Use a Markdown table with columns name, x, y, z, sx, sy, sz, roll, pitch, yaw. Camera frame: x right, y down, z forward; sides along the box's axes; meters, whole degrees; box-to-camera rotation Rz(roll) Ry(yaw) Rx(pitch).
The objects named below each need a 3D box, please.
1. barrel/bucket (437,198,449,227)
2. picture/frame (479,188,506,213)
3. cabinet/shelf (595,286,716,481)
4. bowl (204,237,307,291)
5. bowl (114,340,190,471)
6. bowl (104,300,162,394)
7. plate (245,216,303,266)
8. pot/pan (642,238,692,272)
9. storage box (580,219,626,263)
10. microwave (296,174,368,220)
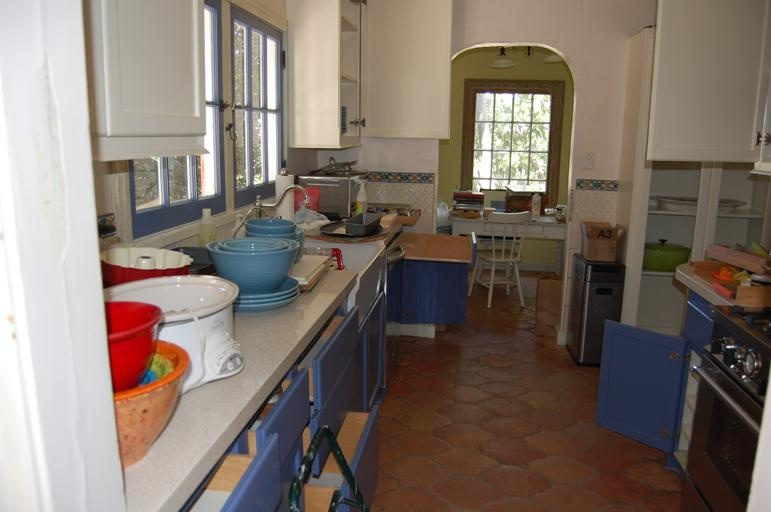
| name | x | y | z | sx | sy | sz | roll | pitch | yaw |
| --- | --- | --- | --- | --- | --- | --- | --- | --- | --- |
| barrel/bucket | 0.675 | -0.496 | 6.327 | 0.133 | 0.291 | 0.455 | 2 | 12 | 6 |
| picture/frame | 1.310 | -0.675 | 6.519 | 0.357 | 0.345 | 0.222 | 3 | -12 | 4 |
| cabinet/shelf | 1.523 | 0.667 | 3.165 | 0.623 | 0.719 | 0.508 | -11 | 22 | -16 |
| bowl | -0.486 | 0.038 | 2.004 | 0.314 | 0.168 | 0.299 | 1 | 12 | 0 |
| bowl | -0.507 | 0.329 | 1.232 | 0.205 | 0.148 | 0.203 | -1 | 13 | 0 |
| bowl | -0.527 | 0.193 | 1.227 | 0.175 | 0.130 | 0.173 | 0 | 22 | 0 |
| plate | -0.509 | -0.098 | 2.509 | 0.209 | 0.132 | 0.240 | 6 | 19 | 9 |
| pot/pan | 2.036 | -0.005 | 3.884 | 0.239 | 0.134 | 0.301 | -1 | 0 | -7 |
| storage box | 1.635 | -0.086 | 4.074 | 0.284 | 0.270 | 0.318 | 8 | 5 | 41 |
| microwave | -0.413 | -0.550 | 4.065 | 0.468 | 0.350 | 0.559 | 1 | 32 | -4 |
